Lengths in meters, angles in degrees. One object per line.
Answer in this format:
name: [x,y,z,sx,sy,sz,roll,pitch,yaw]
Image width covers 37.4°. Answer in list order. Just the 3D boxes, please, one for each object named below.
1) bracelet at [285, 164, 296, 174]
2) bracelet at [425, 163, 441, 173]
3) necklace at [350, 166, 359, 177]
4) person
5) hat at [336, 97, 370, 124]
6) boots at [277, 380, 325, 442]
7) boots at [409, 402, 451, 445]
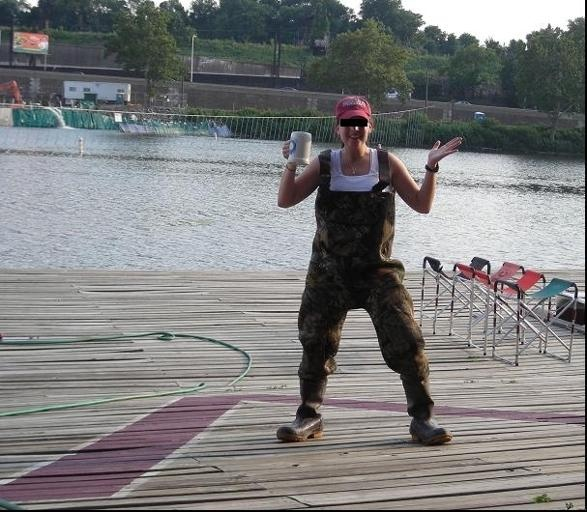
bracelet: [-0.009,-0.442,4.527,0.051,0.041,0.054,5,18,-5]
bracelet: [0.729,-0.445,4.515,0.072,0.031,0.053,7,11,26]
necklace: [0.323,-0.431,4.523,0.052,0.037,0.017,-7,1,9]
person: [0.376,0.058,4.570,0.977,1.718,0.403,4,10,5]
hat: [0.317,-0.736,4.528,0.146,0.077,0.167,1,-3,-3]
boots: [0.024,0.781,4.644,0.216,0.304,0.391,2,-2,30]
boots: [0.726,0.843,4.571,0.151,0.178,0.395,-3,-5,-13]
